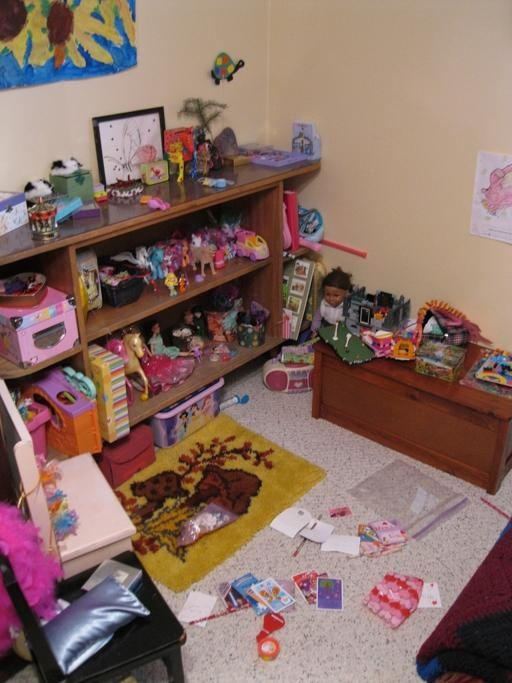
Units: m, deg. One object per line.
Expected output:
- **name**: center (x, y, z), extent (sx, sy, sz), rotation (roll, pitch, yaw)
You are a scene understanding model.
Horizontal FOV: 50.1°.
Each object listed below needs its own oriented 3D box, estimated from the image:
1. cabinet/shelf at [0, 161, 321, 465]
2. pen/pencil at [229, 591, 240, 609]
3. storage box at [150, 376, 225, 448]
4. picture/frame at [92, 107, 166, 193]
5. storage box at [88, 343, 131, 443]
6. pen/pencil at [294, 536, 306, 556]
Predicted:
- **cabinet/shelf**: center (-0.385, -0.110, 2.178), extent (0.321, 0.641, 1.221), rotation (21, 40, 32)
- **pen/pencil**: center (-0.069, 0.800, 1.694), extent (0.022, 0.011, 0.042), rotation (-3, 23, -8)
- **storage box**: center (-0.300, 0.319, 2.476), extent (0.220, 0.155, 0.348), rotation (26, 43, 35)
- **picture/frame**: center (-0.512, -0.757, 2.150), extent (0.026, 0.280, 0.363), rotation (15, 33, 29)
- **storage box**: center (-0.535, 0.187, 1.966), extent (0.110, 0.310, 0.305), rotation (-9, 22, -26)
- **pen/pencil**: center (0.150, 0.709, 1.886), extent (0.017, 0.013, 0.096), rotation (6, 27, 21)
